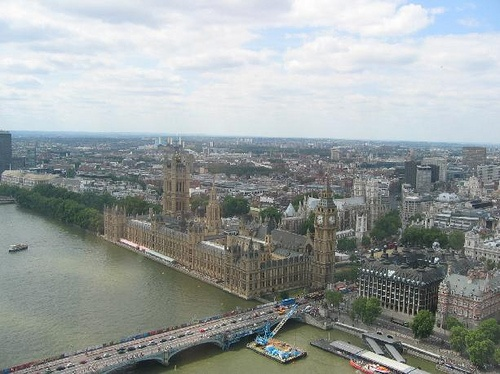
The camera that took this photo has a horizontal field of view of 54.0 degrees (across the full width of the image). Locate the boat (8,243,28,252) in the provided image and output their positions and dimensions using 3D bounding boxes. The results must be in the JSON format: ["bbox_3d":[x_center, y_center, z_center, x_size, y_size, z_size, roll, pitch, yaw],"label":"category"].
[{"bbox_3d":[-72.098,18.998,152.073,3.879,1.473,2.614,1,0,-41],"label":"boat"}]

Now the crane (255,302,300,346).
[{"bbox_3d":[5.749,29.316,103.629,1.525,2.455,8.987,6,30,40],"label":"crane"}]
